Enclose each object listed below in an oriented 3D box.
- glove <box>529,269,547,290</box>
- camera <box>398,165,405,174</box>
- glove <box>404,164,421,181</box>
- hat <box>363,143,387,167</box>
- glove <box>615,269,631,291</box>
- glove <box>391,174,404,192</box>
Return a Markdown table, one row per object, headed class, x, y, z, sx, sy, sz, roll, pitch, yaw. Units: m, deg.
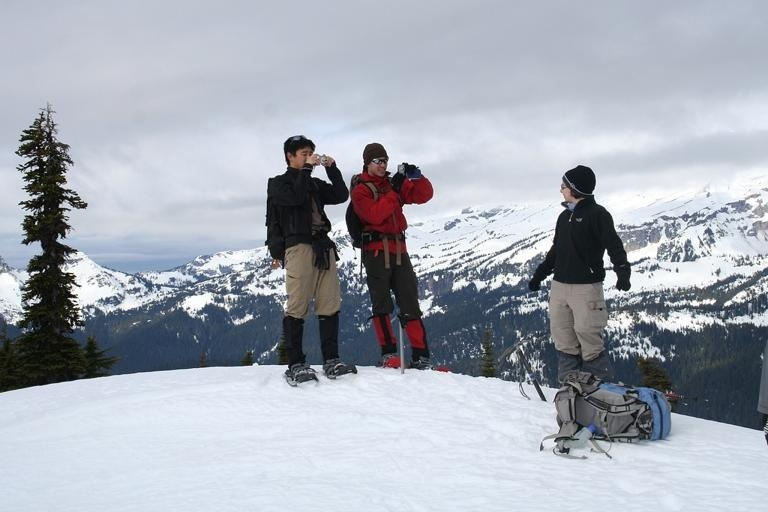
| class | x | y | z | sx | sy | sz | roll | pitch | yaw |
| --- | --- | --- | --- | --- | --- | --- | --- | --- | --- |
| glove | 4.901 | 0.809 | 28.471 | 0.222 | 0.597 | 0.638 | 28 | 42 | 19 |
| camera | 0.546 | -2.763 | 28.306 | 0.188 | 0.321 | 0.136 | 2 | -6 | -8 |
| glove | 0.895 | -2.684 | 28.349 | 0.497 | 0.421 | 0.390 | 0 | -5 | 16 |
| hat | -0.343 | -3.240 | 28.257 | 0.715 | 0.682 | 0.523 | 0 | -6 | 12 |
| glove | 7.282 | 0.742 | 27.008 | 0.427 | 0.635 | 0.914 | 0 | -5 | 13 |
| glove | 0.422 | -2.351 | 28.432 | 0.437 | 0.532 | 0.171 | 1 | -3 | -2 |
